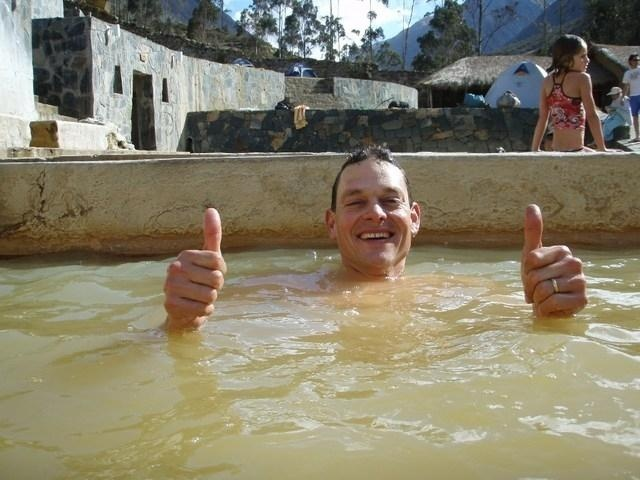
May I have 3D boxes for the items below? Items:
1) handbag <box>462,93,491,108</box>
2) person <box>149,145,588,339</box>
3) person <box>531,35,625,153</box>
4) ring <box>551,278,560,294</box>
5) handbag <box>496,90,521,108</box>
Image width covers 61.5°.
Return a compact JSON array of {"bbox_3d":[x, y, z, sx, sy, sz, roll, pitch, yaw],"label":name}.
[{"bbox_3d":[3.765,-3.340,12.940,0.509,0.247,0.723,12,18,27],"label":"handbag"},{"bbox_3d":[0.243,0.041,2.647,1.956,0.880,0.636,0,-11,1],"label":"person"},{"bbox_3d":[2.127,-1.299,4.531,0.572,1.178,1.634,4,7,20],"label":"person"},{"bbox_3d":[0.818,0.159,1.884,0.009,0.036,0.038,-18,10,17],"label":"ring"},{"bbox_3d":[4.327,-3.204,12.521,0.513,0.421,0.503,-12,9,-3],"label":"handbag"}]
